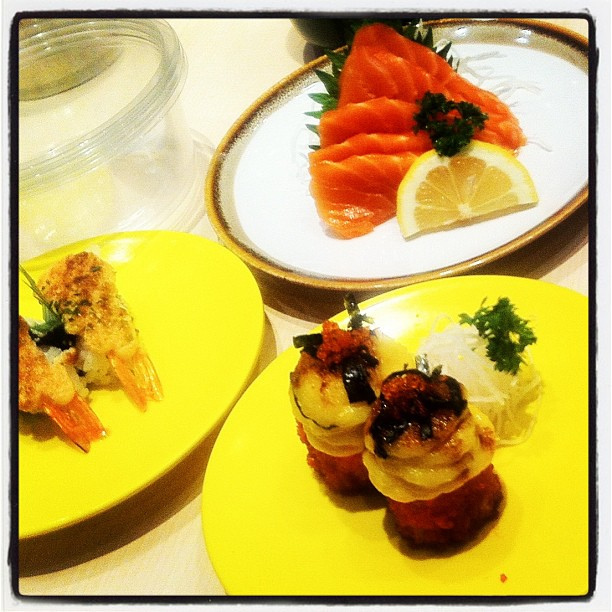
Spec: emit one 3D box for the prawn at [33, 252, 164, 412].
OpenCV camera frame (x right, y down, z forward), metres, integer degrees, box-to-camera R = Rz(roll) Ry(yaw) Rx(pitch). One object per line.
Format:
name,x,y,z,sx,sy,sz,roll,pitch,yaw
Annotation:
prawn,-0.396,0.051,1.282,0.153,0.087,0.368,-34,72,-22

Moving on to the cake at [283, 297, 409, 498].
cake,0.061,0.151,0.941,0.197,0.262,0.166,-20,34,-16
